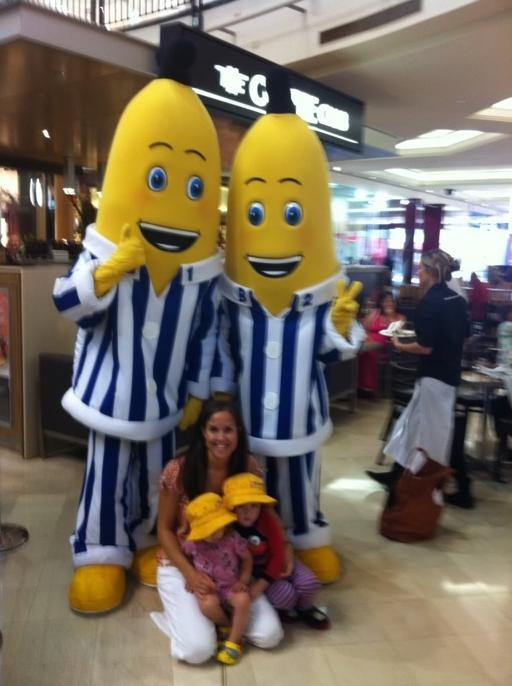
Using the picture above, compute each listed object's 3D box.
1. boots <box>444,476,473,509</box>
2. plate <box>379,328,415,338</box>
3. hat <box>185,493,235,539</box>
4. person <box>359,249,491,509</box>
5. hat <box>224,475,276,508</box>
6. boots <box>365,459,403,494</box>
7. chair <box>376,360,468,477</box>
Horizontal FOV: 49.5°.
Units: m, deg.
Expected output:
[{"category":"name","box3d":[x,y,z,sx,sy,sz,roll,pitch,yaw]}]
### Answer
[{"category":"boots","box3d":[1.206,0.884,3.299,0.072,0.167,0.132,-31,7,-40]},{"category":"plate","box3d":[1.051,-0.059,3.978,0.168,0.029,0.165,-3,9,-25]},{"category":"hat","box3d":[-0.172,0.565,1.788,0.150,0.078,0.144,-29,5,10]},{"category":"person","box3d":[0.960,0.222,3.127,0.433,1.461,0.836,7,8,42]},{"category":"hat","box3d":[-0.029,0.504,1.856,0.162,0.094,0.126,2,5,-5]},{"category":"boots","box3d":[0.688,0.729,2.936,0.169,0.192,0.219,-7,22,6]},{"category":"chair","box3d":[0.971,0.422,3.260,0.328,0.585,0.276,13,-6,24]}]
